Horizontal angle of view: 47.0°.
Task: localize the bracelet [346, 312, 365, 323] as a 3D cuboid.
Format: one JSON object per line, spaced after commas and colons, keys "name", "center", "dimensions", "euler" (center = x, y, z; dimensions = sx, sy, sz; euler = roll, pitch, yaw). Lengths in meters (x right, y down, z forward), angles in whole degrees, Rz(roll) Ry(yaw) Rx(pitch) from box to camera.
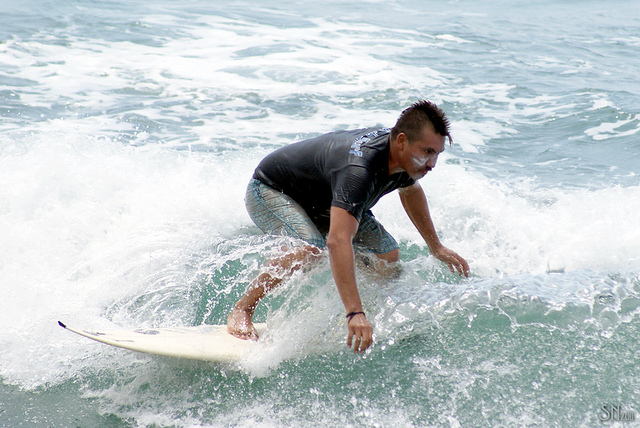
{"name": "bracelet", "center": [0.371, 1.072, 7.604], "dimensions": [0.198, 0.160, 0.045], "euler": [0, 38, -37]}
